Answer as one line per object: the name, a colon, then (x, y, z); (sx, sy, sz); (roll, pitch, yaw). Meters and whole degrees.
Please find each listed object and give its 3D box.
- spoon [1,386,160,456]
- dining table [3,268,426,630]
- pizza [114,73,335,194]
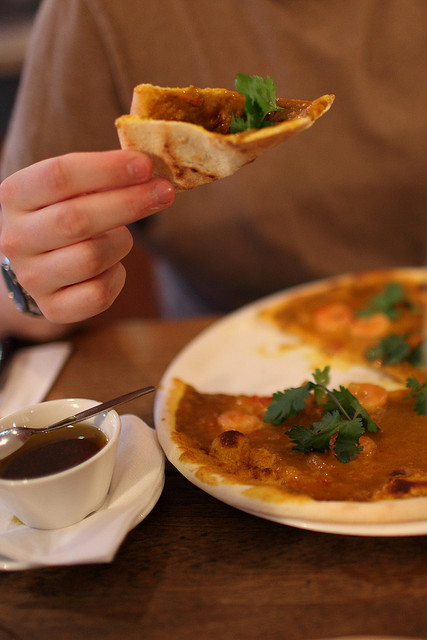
spoon: (-0.188, 0.151, 1.048); (0.295, 0.038, 0.059); (-18, 38, -16)
dining table: (0.033, 0.156, 1.081); (0.624, 0.353, 0.820); (0, 46, 17)
pizza: (0.013, -0.266, 0.991); (0.259, 0.105, 0.204); (0, 33, 15)
